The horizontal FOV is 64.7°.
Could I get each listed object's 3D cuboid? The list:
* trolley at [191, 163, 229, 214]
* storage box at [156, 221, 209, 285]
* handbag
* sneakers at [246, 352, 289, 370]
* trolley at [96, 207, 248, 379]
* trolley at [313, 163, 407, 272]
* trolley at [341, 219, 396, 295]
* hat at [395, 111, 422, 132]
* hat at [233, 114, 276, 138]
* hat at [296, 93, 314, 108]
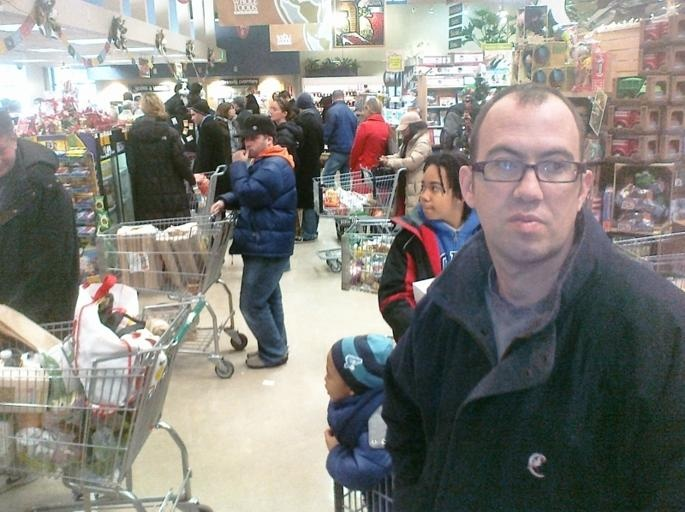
[{"bbox_3d":[-1.561,-0.726,5.910,0.516,0.458,0.300,0,5,-11],"label":"trolley"},{"bbox_3d":[-1.114,0.017,3.810,0.337,0.448,0.167,-6,13,-15],"label":"storage box"},{"bbox_3d":[-0.871,0.349,2.275,0.389,0.689,0.611,2,-2,-17],"label":"handbag"},{"bbox_3d":[-0.642,0.881,4.460,0.233,0.096,0.152,5,5,-6],"label":"sneakers"},{"bbox_3d":[-1.265,0.223,4.106,1.105,1.172,0.948,0,12,-14],"label":"trolley"},{"bbox_3d":[0.224,-0.532,6.609,1.375,1.513,0.965,1,7,-7],"label":"trolley"},{"bbox_3d":[0.186,-0.022,4.364,0.372,0.334,0.668,2,11,1],"label":"trolley"},{"bbox_3d":[0.753,-1.599,6.315,0.285,0.152,0.197,-26,21,6],"label":"hat"},{"bbox_3d":[-0.685,-0.966,4.214,0.322,0.166,0.230,0,26,-11],"label":"hat"},{"bbox_3d":[-0.586,-2.500,8.749,0.262,0.272,0.361,7,10,14],"label":"hat"}]
